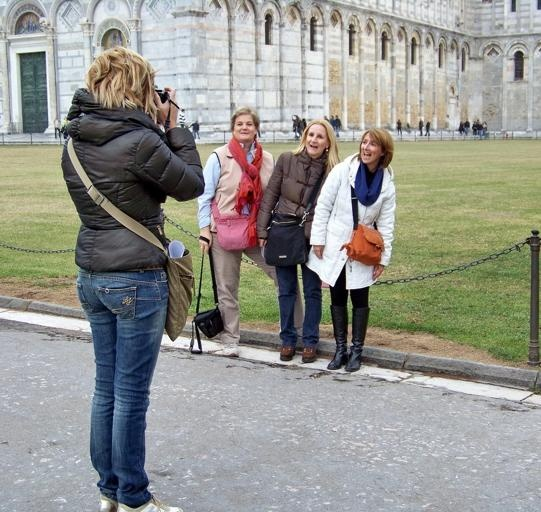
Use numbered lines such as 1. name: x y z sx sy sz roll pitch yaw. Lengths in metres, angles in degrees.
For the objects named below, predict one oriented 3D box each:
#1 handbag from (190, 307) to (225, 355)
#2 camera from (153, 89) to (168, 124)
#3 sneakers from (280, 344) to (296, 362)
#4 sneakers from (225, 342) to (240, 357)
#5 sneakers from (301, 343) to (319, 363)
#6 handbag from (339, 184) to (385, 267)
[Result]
1. handbag: -0.538 0.609 6.829 0.154 0.368 0.258 12 2 -43
2. camera: -0.519 -0.700 4.090 0.037 0.123 0.132 -2 -1 12
3. sneakers: 0.131 0.750 6.691 0.115 0.134 0.327 -1 -4 7
4. sneakers: -0.313 0.737 6.795 0.082 0.092 0.212 2 -8 -5
5. sneakers: 0.298 0.749 6.655 0.141 0.171 0.405 -1 -3 8
6. handbag: 0.662 -0.213 6.292 0.292 0.544 0.180 1 10 10
